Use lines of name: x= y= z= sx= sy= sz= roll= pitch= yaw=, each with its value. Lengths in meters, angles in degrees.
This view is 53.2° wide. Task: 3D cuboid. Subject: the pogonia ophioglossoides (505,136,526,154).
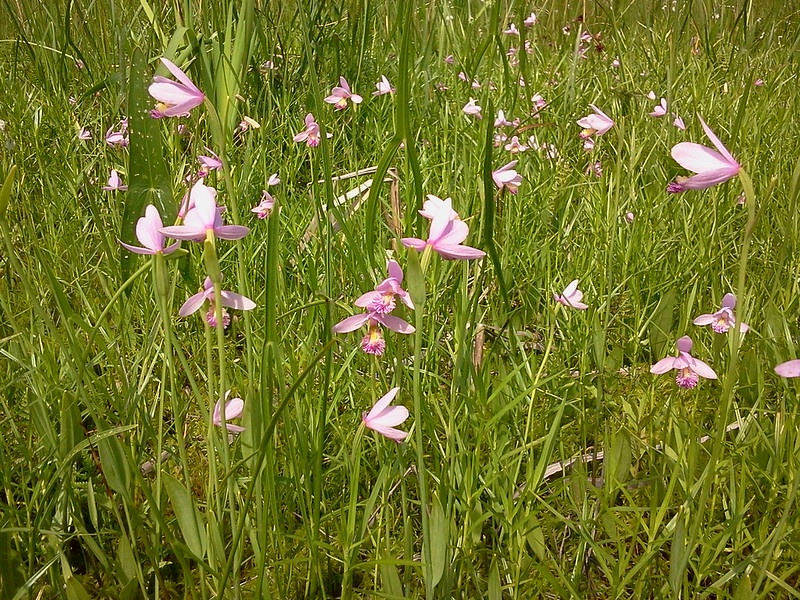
pogonia ophioglossoides: x=0.489 y=-0.639 z=3.377 sx=0.088 sy=0.104 sz=0.059 roll=-1 pitch=66 yaw=9

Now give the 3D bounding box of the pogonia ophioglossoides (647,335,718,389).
pogonia ophioglossoides: x=0.795 y=0.172 z=2.246 sx=0.112 sy=0.042 sz=0.146 roll=25 pitch=68 yaw=-11
